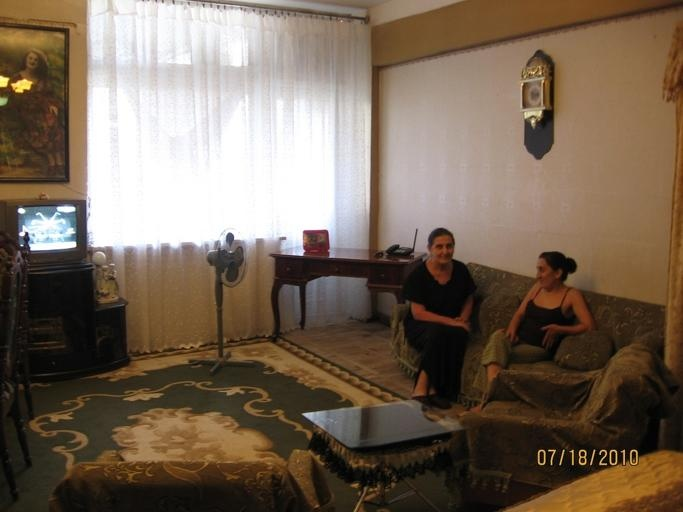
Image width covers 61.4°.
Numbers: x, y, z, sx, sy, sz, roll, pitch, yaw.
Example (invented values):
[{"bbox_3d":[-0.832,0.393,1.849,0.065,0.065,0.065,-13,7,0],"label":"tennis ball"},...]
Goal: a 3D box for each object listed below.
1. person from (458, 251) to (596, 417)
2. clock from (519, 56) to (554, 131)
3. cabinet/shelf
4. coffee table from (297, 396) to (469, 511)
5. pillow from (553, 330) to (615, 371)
[{"bbox_3d":[1.730,0.497,4.813,1.327,1.543,0.697,2,-3,-2],"label":"person"},{"bbox_3d":[1.702,-1.444,5.011,0.149,0.636,0.258,-10,14,-44],"label":"clock"},{"bbox_3d":[-2.484,0.580,5.326,0.857,0.886,0.905,-3,1,-22],"label":"cabinet/shelf"},{"bbox_3d":[0.172,1.005,3.196,0.707,0.419,0.605,-3,5,-35],"label":"coffee table"},{"bbox_3d":[1.679,0.648,3.934,0.276,0.076,0.281,-23,24,-2],"label":"pillow"}]
